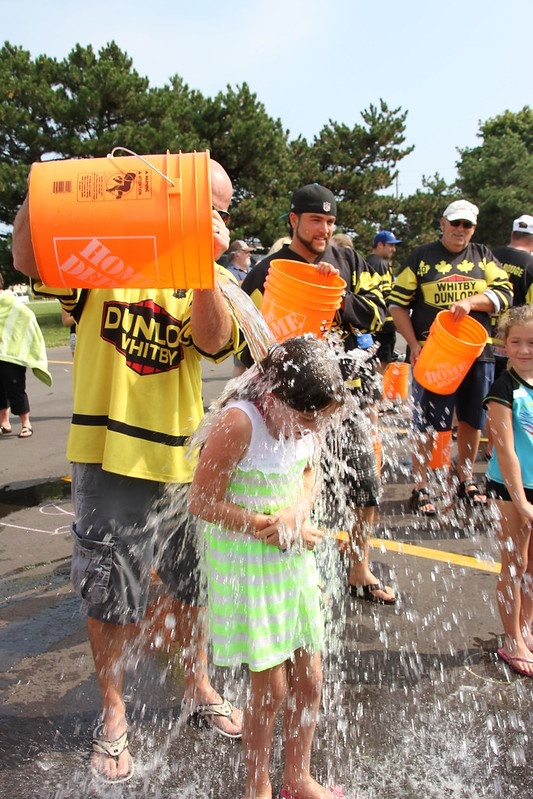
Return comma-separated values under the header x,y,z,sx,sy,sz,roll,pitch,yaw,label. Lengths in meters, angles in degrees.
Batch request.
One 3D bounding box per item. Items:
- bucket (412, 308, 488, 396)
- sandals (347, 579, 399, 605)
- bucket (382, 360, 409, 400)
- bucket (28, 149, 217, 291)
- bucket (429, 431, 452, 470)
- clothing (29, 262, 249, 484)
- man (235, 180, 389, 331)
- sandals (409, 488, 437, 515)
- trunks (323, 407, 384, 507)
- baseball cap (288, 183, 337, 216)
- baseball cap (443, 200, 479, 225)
x,y,z,sx,sy,sz,roll,pitch,yaw,label
1.192,-0.285,3.737,0.334,0.550,0.426,-5,8,-33,bucket
0.485,0.887,2.723,0.166,0.049,0.097,2,3,28,sandals
1.598,-0.239,7.312,0.375,0.429,0.444,1,27,-2,bucket
-0.306,-0.444,1.459,0.476,0.315,0.370,3,32,0,bucket
1.210,0.367,4.084,0.124,0.334,0.319,1,7,15,bucket
-0.398,-0.133,1.709,0.542,0.733,0.218,8,-24,-24,clothing
0.204,-0.562,2.918,0.770,0.923,0.474,1,15,-5,man
1.068,0.699,4.000,0.161,0.138,0.233,1,7,13,sandals
0.361,0.272,2.730,0.232,0.436,0.333,0,0,-12,trunks
0.225,-0.919,2.790,0.183,0.126,0.186,-8,34,-18,baseball cap
1.369,-1.316,4.138,0.218,0.228,0.413,1,7,17,baseball cap
